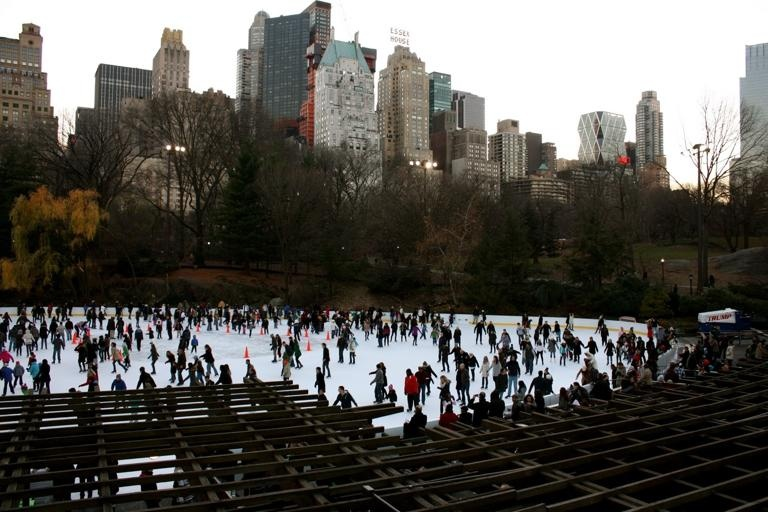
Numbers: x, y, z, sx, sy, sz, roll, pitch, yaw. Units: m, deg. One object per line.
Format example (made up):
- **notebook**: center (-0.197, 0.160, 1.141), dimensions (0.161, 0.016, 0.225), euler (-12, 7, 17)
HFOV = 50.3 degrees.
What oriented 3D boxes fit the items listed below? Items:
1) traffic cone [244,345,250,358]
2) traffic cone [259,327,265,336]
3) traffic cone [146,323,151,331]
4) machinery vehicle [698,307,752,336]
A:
- **traffic cone**: center (-8.921, 6.207, 53.093), dimensions (0.596, 0.685, 0.614), euler (3, 8, 10)
- **traffic cone**: center (-8.758, 5.420, 58.959), dimensions (0.482, 0.533, 0.477), euler (1, -6, -7)
- **traffic cone**: center (-16.492, 4.952, 57.175), dimensions (0.406, 0.450, 0.431), euler (-4, -19, 14)
- **machinery vehicle**: center (23.901, 4.536, 57.217), dimensions (3.108, 1.702, 1.886), euler (-1, 3, -1)
